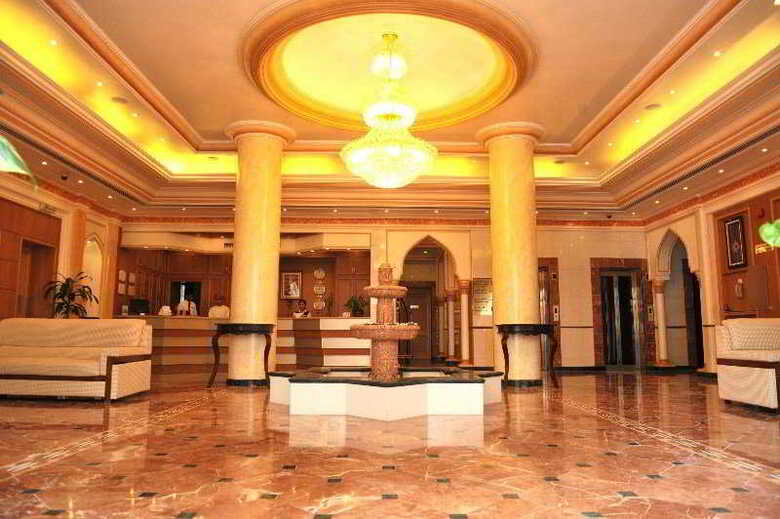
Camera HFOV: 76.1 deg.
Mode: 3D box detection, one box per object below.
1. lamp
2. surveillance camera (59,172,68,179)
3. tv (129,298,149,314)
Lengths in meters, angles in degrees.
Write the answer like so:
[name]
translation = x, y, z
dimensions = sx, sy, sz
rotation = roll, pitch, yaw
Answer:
[lamp]
translation = -0.020, -2.483, 8.773
dimensions = 1.551, 2.046, 1.281
rotation = 1, -10, 0
[surveillance camera]
translation = -7.132, -1.840, 10.941
dimensions = 0.158, 0.076, 0.128
rotation = -2, -8, 7
[tv]
translation = -6.794, 1.266, 13.526
dimensions = 0.554, 0.385, 0.164
rotation = 3, -10, -34
